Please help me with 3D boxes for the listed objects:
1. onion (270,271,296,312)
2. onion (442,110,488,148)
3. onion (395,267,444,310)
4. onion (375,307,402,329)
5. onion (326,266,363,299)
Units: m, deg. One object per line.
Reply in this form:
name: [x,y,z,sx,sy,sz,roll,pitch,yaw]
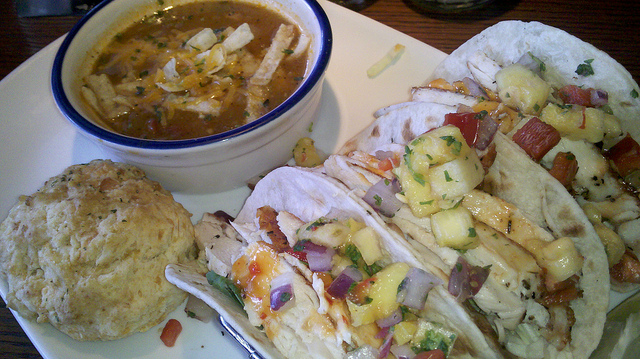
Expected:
onion: [-0.320,0.960,4.701,0.217,0.161,0.307,-2,59,-6]
onion: [1.224,-0.462,4.646,0.329,0.152,0.318,15,58,4]
onion: [0.811,0.913,4.489,0.295,0.170,0.302,26,60,11]
onion: [0.591,1.173,4.558,0.205,0.134,0.102,-18,62,-15]
onion: [0.203,0.863,4.592,0.185,0.099,0.335,38,86,8]
